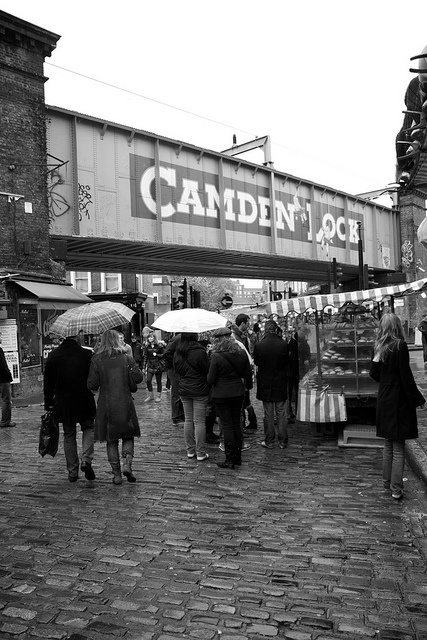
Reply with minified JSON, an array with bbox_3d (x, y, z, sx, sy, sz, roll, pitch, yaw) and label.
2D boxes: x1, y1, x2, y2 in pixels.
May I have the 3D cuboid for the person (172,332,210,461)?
[{"bbox_3d":[-0.213,0.903,8.217,0.356,1.484,0.536,0,-1,-31],"label":"person"}]

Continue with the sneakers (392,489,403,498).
[{"bbox_3d":[1.652,1.551,6.151,0.041,0.053,0.124,2,1,25],"label":"sneakers"}]

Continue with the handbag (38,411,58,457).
[{"bbox_3d":[-1.736,1.218,7.286,0.183,0.555,0.649,-1,-1,-14],"label":"handbag"}]

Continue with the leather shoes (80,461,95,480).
[{"bbox_3d":[-1.266,1.537,7.041,0.090,0.240,0.108,-10,37,3],"label":"leather shoes"}]

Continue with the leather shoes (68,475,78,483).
[{"bbox_3d":[-1.431,1.625,7.074,0.089,0.064,0.125,-1,0,-12],"label":"leather shoes"}]

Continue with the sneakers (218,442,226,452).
[{"bbox_3d":[0.124,1.624,8.806,0.055,0.072,0.165,0,-5,-3],"label":"sneakers"}]

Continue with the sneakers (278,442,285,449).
[{"bbox_3d":[0.870,1.583,8.686,0.066,0.088,0.220,0,-3,6],"label":"sneakers"}]

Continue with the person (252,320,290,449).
[{"bbox_3d":[0.740,0.817,8.743,0.448,1.608,0.440,-1,-1,12],"label":"person"}]

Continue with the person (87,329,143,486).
[{"bbox_3d":[-0.989,0.879,7.001,0.546,1.532,0.408,-1,-1,-10],"label":"person"}]

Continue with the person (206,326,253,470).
[{"bbox_3d":[0.162,0.862,7.810,0.426,1.528,0.602,-1,-1,10],"label":"person"}]
